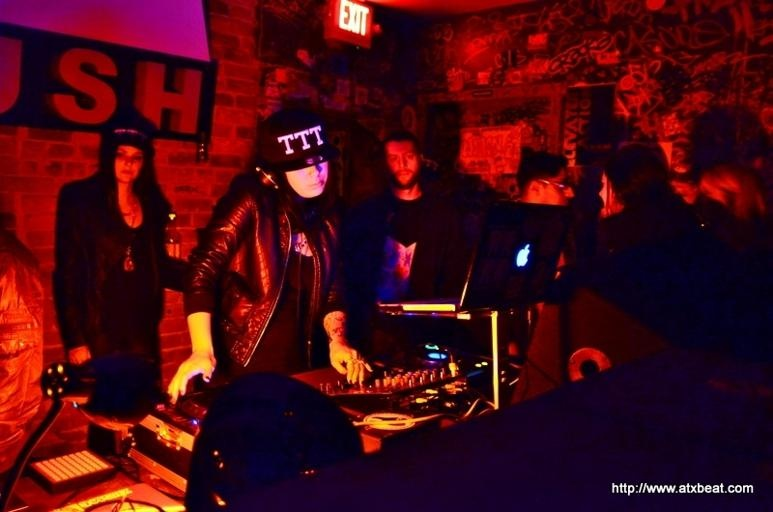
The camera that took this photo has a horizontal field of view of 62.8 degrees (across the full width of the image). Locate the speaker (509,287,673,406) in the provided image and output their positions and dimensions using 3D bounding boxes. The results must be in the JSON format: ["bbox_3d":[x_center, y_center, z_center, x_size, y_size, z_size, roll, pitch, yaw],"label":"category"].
[{"bbox_3d":[0.689,0.312,2.197,0.509,0.452,0.151,3,6,-36],"label":"speaker"}]

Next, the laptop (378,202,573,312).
[{"bbox_3d":[0.437,-0.003,2.645,0.522,0.360,0.592,-2,-2,41],"label":"laptop"}]

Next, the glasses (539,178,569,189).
[{"bbox_3d":[1.332,-0.571,5.017,0.127,0.037,0.128,10,16,32],"label":"glasses"}]

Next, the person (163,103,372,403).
[{"bbox_3d":[-0.517,-0.008,2.873,0.752,1.323,0.748,0,9,-17],"label":"person"}]

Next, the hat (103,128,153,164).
[{"bbox_3d":[-1.592,-0.673,3.909,0.159,0.127,0.208,-12,-19,30],"label":"hat"}]

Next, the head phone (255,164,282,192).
[{"bbox_3d":[-0.538,-0.351,2.908,0.088,0.029,0.087,32,6,-35],"label":"head phone"}]

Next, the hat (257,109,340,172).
[{"bbox_3d":[-0.438,-0.558,3.049,0.381,0.244,0.464,-16,25,-17],"label":"hat"}]
